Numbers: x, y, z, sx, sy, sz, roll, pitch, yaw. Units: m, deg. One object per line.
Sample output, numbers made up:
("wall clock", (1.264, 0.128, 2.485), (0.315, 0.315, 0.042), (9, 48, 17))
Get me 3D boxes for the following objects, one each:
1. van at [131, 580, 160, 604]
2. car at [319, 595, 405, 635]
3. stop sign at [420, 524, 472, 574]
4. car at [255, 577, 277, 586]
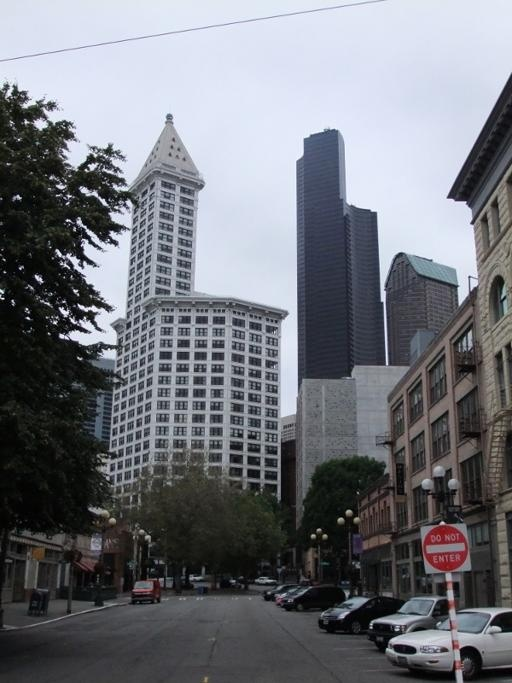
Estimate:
("van", (-7.380, 16.934, 50.007), (1.394, 1.099, 2.218), (-2, -31, -1))
("car", (3.686, 9.719, 26.411), (3.040, 0.988, 1.367), (11, -25, -28))
("stop sign", (2.436, 2.701, 9.629), (0.553, 0.602, 0.323), (-7, -22, 18))
("car", (1.252, 35.087, 108.061), (2.675, 1.393, 9.559), (1, -20, -3))
